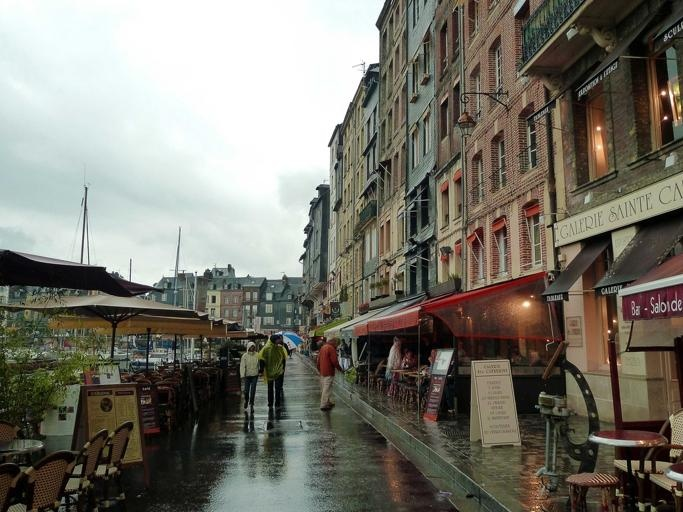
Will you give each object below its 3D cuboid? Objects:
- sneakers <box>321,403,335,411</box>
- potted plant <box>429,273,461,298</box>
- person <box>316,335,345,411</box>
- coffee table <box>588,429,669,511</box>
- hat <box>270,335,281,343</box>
[{"bbox_3d":[-0.438,4.691,17.837,0.489,0.236,0.164,-7,6,-40],"label":"sneakers"},{"bbox_3d":[4.251,1.276,23.356,0.424,0.839,2.783,3,-13,-13],"label":"potted plant"},{"bbox_3d":[-0.426,3.706,17.913,0.675,2.146,1.434,0,-12,-3],"label":"person"},{"bbox_3d":[3.425,2.558,6.729,0.784,0.981,1.109,-10,-16,39],"label":"coffee table"},{"bbox_3d":[-2.016,2.525,17.262,0.201,0.291,0.287,2,3,14],"label":"hat"}]
